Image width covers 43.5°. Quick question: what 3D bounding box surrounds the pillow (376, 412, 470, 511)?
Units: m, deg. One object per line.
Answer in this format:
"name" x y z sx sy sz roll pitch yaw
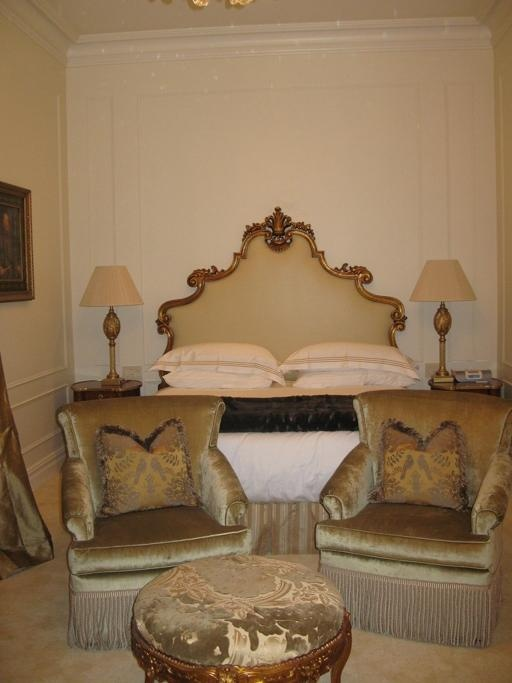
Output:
"pillow" 0.697 0.493 2.653 0.358 0.342 0.106 -3 -18 21

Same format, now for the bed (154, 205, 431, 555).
"bed" 0.182 0.155 4.169 2.026 1.907 2.177 0 2 3

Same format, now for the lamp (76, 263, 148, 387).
"lamp" -1.078 -0.139 4.923 0.426 0.898 0.639 0 6 7

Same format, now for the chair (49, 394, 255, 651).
"chair" -0.439 0.702 2.684 0.708 0.781 0.756 -2 3 -17
